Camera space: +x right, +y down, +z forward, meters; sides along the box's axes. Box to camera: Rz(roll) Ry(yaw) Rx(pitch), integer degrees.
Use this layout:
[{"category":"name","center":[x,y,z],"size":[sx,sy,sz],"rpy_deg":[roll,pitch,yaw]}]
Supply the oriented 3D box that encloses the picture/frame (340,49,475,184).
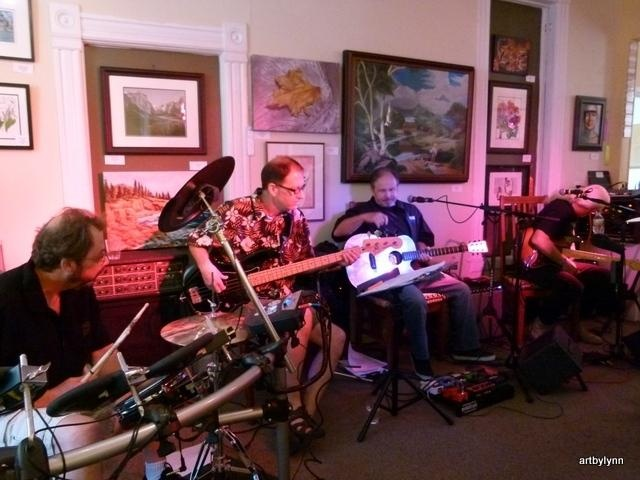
[{"category":"picture/frame","center":[0.714,-1.089,4.431],"size":[1.190,0.943,0.049],"rpy_deg":[-4,13,-23]}]

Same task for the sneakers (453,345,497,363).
[{"category":"sneakers","center":[1.252,0.938,4.159],"size":[0.365,0.156,0.137],"rpy_deg":[-1,7,-1]}]

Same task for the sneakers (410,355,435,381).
[{"category":"sneakers","center":[0.751,0.958,3.723],"size":[0.092,0.105,0.258],"rpy_deg":[-3,19,-15]}]

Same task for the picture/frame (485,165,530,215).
[{"category":"picture/frame","center":[1.755,-0.469,4.819],"size":[0.494,0.436,0.042],"rpy_deg":[-7,10,-25]}]

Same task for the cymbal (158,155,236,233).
[{"category":"cymbal","center":[-0.638,-0.251,2.828],"size":[0.439,0.106,0.458],"rpy_deg":[-38,-9,-36]}]

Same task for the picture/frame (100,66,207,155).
[{"category":"picture/frame","center":[-1.255,-0.948,3.713],"size":[0.647,0.570,0.052],"rpy_deg":[-2,1,-28]}]

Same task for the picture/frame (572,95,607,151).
[{"category":"picture/frame","center":[2.784,-1.221,5.294],"size":[0.521,0.671,0.065],"rpy_deg":[-7,9,-33]}]

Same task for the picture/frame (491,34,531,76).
[{"category":"picture/frame","center":[1.820,-1.762,4.893],"size":[0.461,0.346,0.037],"rpy_deg":[-4,9,-25]}]

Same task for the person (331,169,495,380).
[{"category":"person","center":[0.663,0.210,4.174],"size":[1.012,1.637,0.955],"rpy_deg":[-7,-1,-22]}]

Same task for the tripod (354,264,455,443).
[{"category":"tripod","center":[0.526,0.816,3.503],"size":[0.633,0.871,0.628],"rpy_deg":[-3,-11,12]}]

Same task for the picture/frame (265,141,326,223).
[{"category":"picture/frame","center":[-0.196,-0.444,3.722],"size":[0.576,0.799,0.035],"rpy_deg":[-8,16,-26]}]

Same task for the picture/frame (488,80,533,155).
[{"category":"picture/frame","center":[1.829,-1.201,4.951],"size":[0.682,0.872,0.033],"rpy_deg":[-2,5,-29]}]
